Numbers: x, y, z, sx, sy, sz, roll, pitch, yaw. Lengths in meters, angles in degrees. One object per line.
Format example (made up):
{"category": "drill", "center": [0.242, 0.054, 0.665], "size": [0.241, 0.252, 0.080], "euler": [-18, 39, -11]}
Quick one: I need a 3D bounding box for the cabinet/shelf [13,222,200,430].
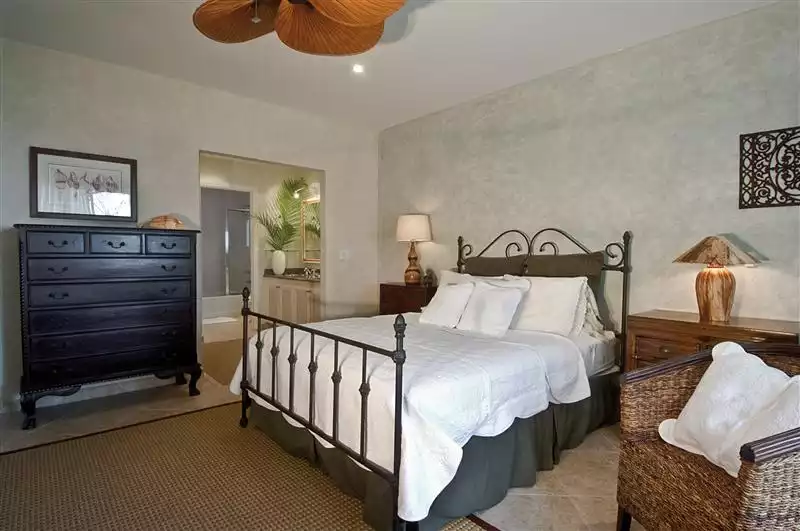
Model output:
{"category": "cabinet/shelf", "center": [-2.746, 0.538, 4.603], "size": [1.792, 2.066, 0.799], "euler": [0, -3, -38]}

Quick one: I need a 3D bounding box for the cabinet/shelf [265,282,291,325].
{"category": "cabinet/shelf", "center": [-1.841, 0.609, 8.082], "size": [0.638, 0.614, 0.371], "euler": [7, 10, 36]}

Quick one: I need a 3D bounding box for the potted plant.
{"category": "potted plant", "center": [-1.861, -0.622, 8.375], "size": [1.130, 1.544, 0.923], "euler": [2, -7, 30]}

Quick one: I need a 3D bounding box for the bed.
{"category": "bed", "center": [0.401, 0.818, 4.169], "size": [2.274, 1.457, 1.969], "euler": [0, 0, -38]}

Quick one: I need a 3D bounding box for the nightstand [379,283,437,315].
{"category": "nightstand", "center": [0.074, 0.400, 6.020], "size": [0.365, 0.599, 0.627], "euler": [0, 0, -28]}

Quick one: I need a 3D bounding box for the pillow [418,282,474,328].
{"category": "pillow", "center": [0.421, 0.339, 4.638], "size": [0.123, 0.420, 0.442], "euler": [36, -20, -29]}

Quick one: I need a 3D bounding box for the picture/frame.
{"category": "picture/frame", "center": [-3.077, -0.770, 4.796], "size": [0.762, 0.641, 0.034], "euler": [0, 1, -32]}

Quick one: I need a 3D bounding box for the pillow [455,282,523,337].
{"category": "pillow", "center": [0.789, 0.364, 4.385], "size": [0.468, 0.464, 0.151], "euler": [14, -18, 45]}

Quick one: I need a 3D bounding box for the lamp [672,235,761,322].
{"category": "lamp", "center": [2.558, 0.101, 4.072], "size": [0.549, 0.683, 0.386], "euler": [-2, 5, -21]}

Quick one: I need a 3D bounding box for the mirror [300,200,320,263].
{"category": "mirror", "center": [-1.470, -0.559, 8.118], "size": [0.055, 1.194, 0.998], "euler": [-2, 2, -36]}

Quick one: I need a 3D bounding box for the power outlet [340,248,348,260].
{"category": "power outlet", "center": [-0.754, -0.142, 6.520], "size": [0.149, 0.153, 0.015], "euler": [3, -8, -37]}
